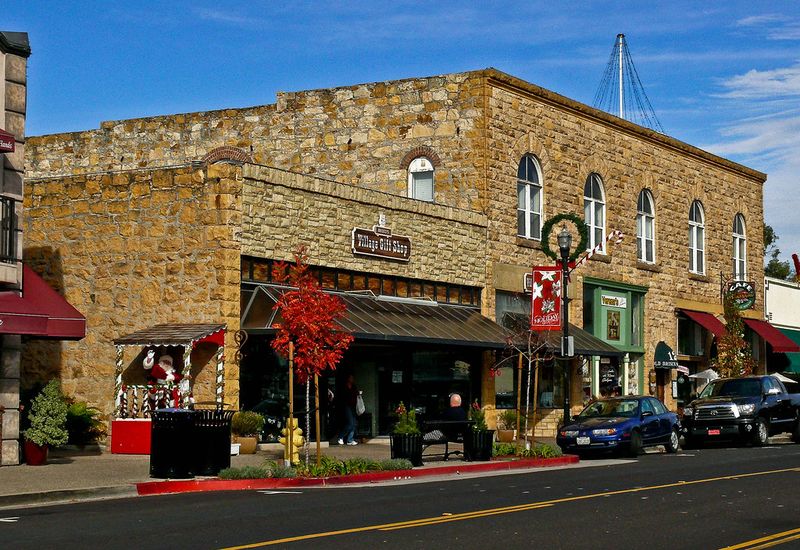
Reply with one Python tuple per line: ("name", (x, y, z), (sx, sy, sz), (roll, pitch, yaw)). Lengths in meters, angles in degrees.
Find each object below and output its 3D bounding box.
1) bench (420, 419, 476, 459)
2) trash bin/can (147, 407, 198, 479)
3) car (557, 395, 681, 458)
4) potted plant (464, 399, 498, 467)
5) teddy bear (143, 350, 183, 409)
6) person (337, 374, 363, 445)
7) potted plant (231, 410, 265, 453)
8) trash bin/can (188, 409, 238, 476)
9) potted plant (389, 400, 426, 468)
("bench", (1.291, 4.298, 34.377), (0.609, 0.945, 1.734), (-11, -17, 42))
("trash bin/can", (-5.252, 3.922, 30.324), (1.061, 1.591, 0.432), (1, -13, -3))
("car", (6.747, 4.623, 39.647), (2.227, 1.594, 5.053), (-6, -6, 33))
("potted plant", (2.090, 4.353, 34.881), (0.705, 1.444, 0.705), (8, -11, -42))
("teddy bear", (-6.552, 2.953, 36.155), (0.898, 1.804, 0.881), (-6, -11, 39))
("person", (-1.488, 4.134, 39.918), (0.750, 2.194, 1.572), (1, -13, -2))
("potted plant", (-4.224, 4.322, 35.877), (1.022, 1.186, 1.090), (0, 0, -6))
("trash bin/can", (-4.358, 3.935, 30.658), (0.906, 1.473, 0.921), (-2, -7, 21))
("potted plant", (0.218, 4.099, 33.177), (0.866, 1.524, 0.758), (5, -14, -20))
